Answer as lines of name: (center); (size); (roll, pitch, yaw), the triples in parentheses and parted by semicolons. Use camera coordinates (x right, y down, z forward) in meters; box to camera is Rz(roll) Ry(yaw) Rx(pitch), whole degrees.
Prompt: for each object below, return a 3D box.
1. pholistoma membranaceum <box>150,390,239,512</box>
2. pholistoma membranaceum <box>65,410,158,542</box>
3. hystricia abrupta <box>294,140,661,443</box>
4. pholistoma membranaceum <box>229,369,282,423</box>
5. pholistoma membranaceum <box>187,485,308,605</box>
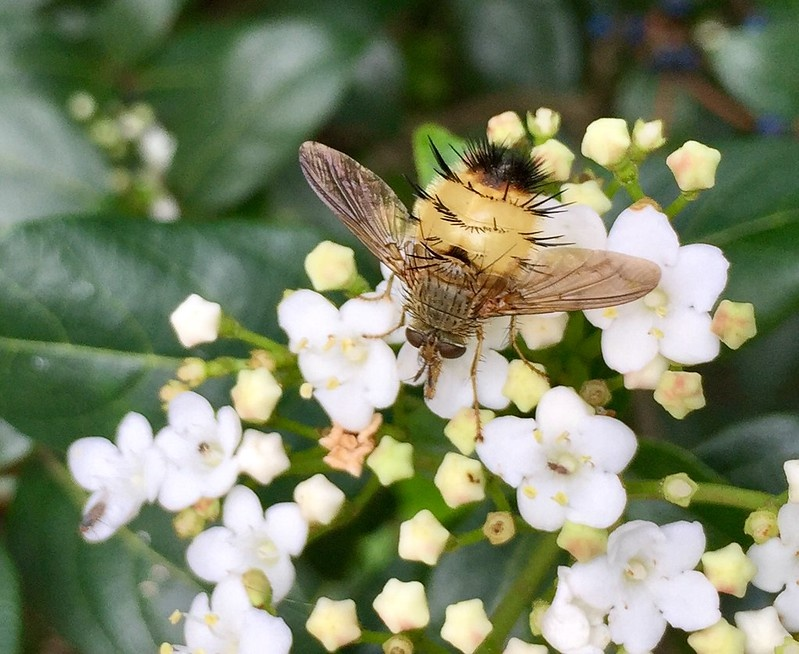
pholistoma membranaceum: (-0.282, 0.181, 1.537); (0.151, 0.064, 0.158); (-2, 73, 14)
pholistoma membranaceum: (-0.413, 0.218, 1.583); (0.153, 0.069, 0.152); (-25, 78, 1)
hystricia abrupta: (0.070, -0.070, 1.622); (0.392, 0.437, 0.468); (0, 93, -5)
pholistoma membranaceum: (-0.199, 0.096, 1.591); (0.064, 0.093, 0.077); (-3, 97, -4)
pholistoma membranaceum: (-0.207, 0.301, 1.507); (0.160, 0.039, 0.162); (36, 96, 17)
